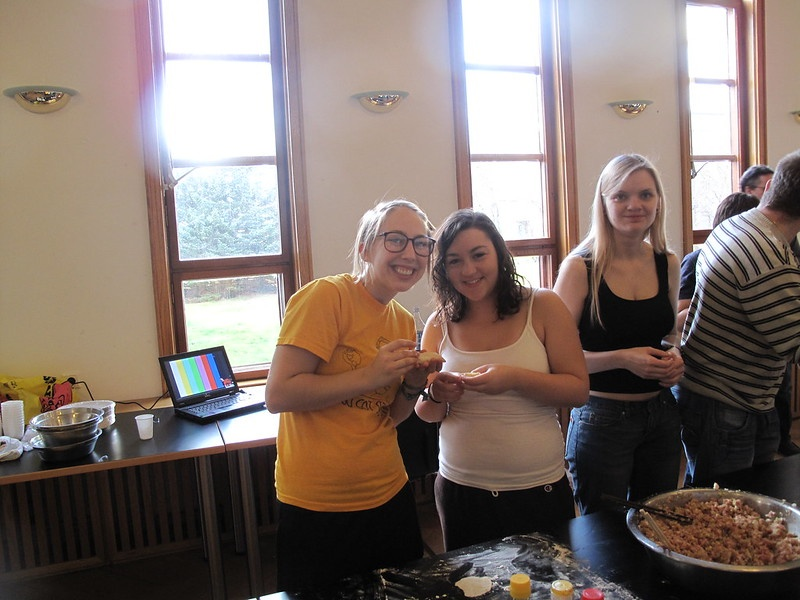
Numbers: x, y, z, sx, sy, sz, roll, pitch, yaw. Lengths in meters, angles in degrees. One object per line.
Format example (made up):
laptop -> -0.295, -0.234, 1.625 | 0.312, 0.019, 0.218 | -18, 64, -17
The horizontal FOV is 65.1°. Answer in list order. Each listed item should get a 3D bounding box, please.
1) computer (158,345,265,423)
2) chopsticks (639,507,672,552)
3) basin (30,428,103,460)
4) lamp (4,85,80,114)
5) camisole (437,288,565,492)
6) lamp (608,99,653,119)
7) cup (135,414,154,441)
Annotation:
computer -> -1.064, 0.477, 3.619 | 0.420, 0.319, 0.480 | 6, 9, 42
chopsticks -> 0.809, 0.732, 2.001 | 0.033, 0.136, 0.037 | -24, 8, 25
basin -> -1.642, 0.720, 3.040 | 0.188, 0.070, 0.190 | -7, 2, 0
lamp -> -2.089, -1.169, 3.648 | 0.212, 0.071, 0.212 | -2, 7, -6
camisole -> 0.356, 0.325, 2.615 | 0.560, 0.804, 0.415 | -3, -2, 7
lamp -> 1.755, -1.437, 4.731 | 0.384, 0.131, 0.142 | -10, 9, -14
cup -> -1.318, 0.674, 3.310 | 0.115, 0.114, 0.116 | -2, -1, 0
